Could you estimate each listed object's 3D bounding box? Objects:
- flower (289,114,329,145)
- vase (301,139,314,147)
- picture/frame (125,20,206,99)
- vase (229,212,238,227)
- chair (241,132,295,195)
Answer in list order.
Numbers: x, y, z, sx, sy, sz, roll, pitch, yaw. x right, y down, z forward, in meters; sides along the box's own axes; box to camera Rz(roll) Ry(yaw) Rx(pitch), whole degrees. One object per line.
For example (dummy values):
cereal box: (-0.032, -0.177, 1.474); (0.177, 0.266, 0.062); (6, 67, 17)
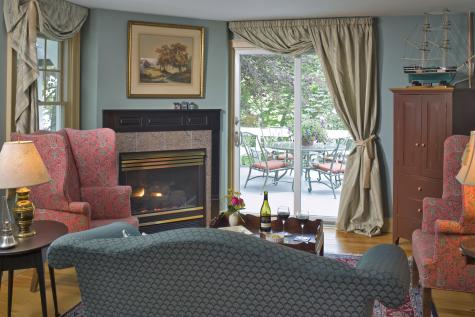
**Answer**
flower: (1.058, -0.398, 5.351); (0.437, 0.318, 0.432); (1, 0, -5)
vase: (1.003, -0.233, 5.364); (0.121, 0.078, 0.117); (2, 1, 35)
picture/frame: (-0.999, -1.343, 4.930); (1.109, 1.032, 0.048); (-1, 8, -17)
vase: (-0.048, 0.602, 3.763); (0.123, 0.157, 0.122); (-1, 5, -4)
chair: (0.340, -0.007, 5.823); (0.836, 1.087, 0.726); (-4, 9, -25)
